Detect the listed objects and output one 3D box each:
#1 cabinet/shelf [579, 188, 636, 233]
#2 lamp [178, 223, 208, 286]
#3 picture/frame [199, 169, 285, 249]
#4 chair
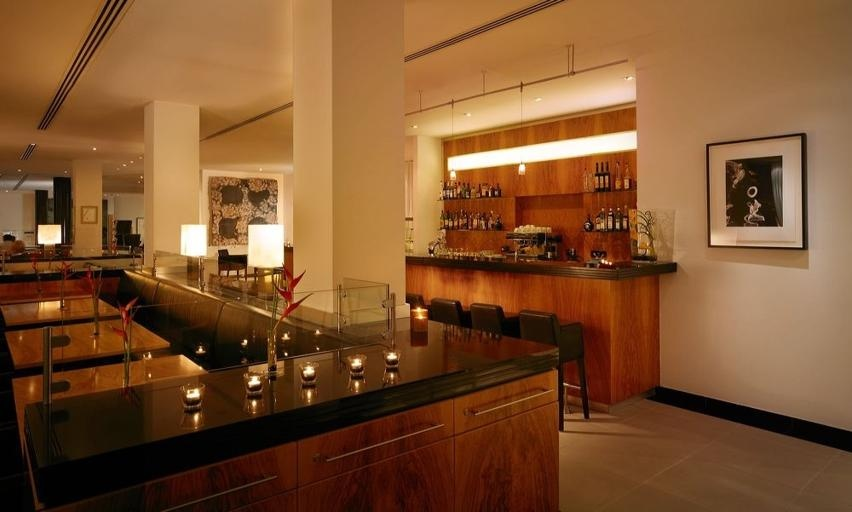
[{"bbox_3d":[2.919,-0.662,9.230,0.833,0.721,0.281,0,-18,8],"label":"cabinet/shelf"},{"bbox_3d":[-3.135,-0.044,7.764,0.307,0.723,2.221,-1,4,-22],"label":"lamp"},{"bbox_3d":[-5.003,-1.285,15.114,0.102,1.924,2.254,0,2,39],"label":"picture/frame"},{"bbox_3d":[0.741,1.038,5.416,0.315,0.702,1.491,-3,6,-32],"label":"chair"}]
